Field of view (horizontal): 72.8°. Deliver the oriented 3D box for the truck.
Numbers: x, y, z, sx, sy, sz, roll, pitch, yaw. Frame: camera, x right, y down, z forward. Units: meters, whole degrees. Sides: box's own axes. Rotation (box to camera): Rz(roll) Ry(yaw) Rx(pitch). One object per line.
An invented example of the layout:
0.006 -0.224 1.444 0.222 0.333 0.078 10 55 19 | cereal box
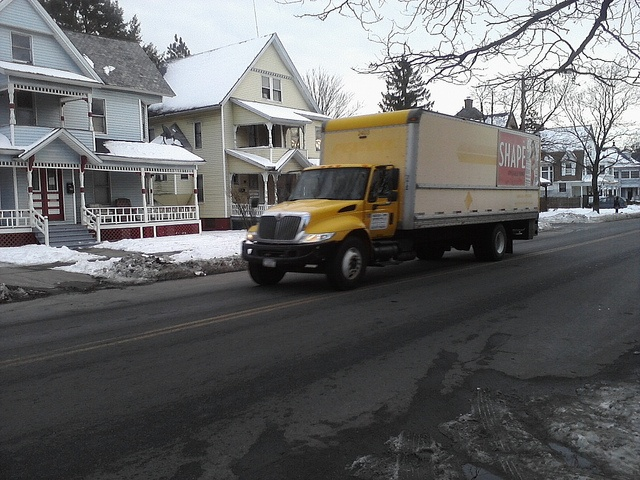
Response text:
2.965 -1.411 14.398 11.486 4.354 3.701 -6 6 -43 | truck
